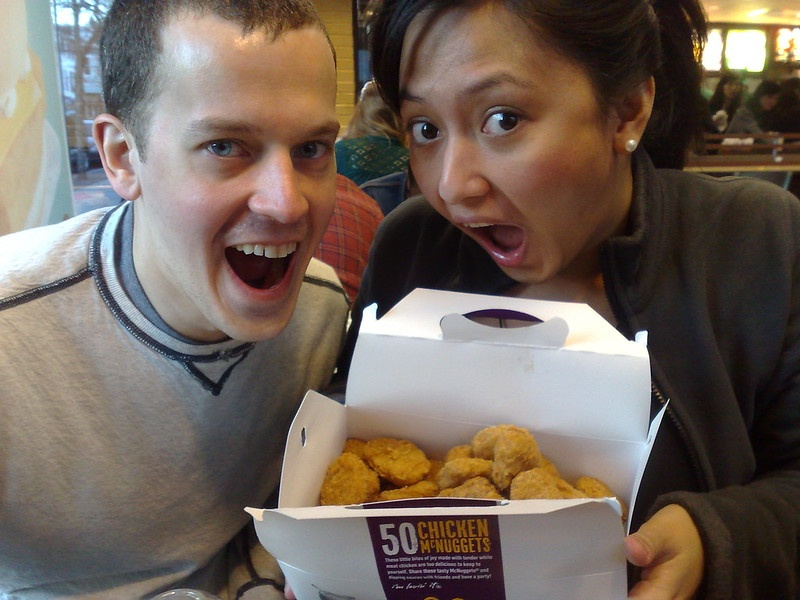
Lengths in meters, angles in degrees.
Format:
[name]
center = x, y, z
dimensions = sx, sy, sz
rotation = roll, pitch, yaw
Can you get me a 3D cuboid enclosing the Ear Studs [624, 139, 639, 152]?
[Ear Studs]
center = 0.592, -0.394, 1.797
dimensions = 0.030, 0.033, 0.009
rotation = 9, 13, -13
